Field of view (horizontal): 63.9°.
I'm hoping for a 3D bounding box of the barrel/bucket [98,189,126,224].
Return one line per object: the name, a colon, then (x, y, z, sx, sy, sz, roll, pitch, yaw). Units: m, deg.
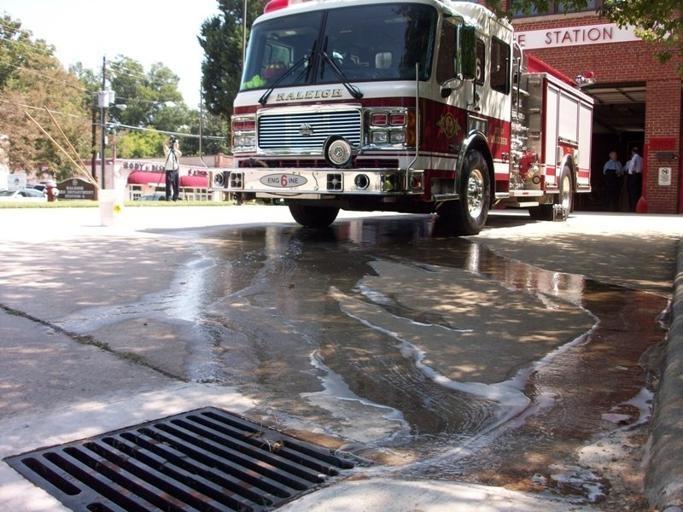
barrel/bucket: (-5.133, -1.099, 12.117, 0.482, 0.799, 0.646, -2, 8, -23)
